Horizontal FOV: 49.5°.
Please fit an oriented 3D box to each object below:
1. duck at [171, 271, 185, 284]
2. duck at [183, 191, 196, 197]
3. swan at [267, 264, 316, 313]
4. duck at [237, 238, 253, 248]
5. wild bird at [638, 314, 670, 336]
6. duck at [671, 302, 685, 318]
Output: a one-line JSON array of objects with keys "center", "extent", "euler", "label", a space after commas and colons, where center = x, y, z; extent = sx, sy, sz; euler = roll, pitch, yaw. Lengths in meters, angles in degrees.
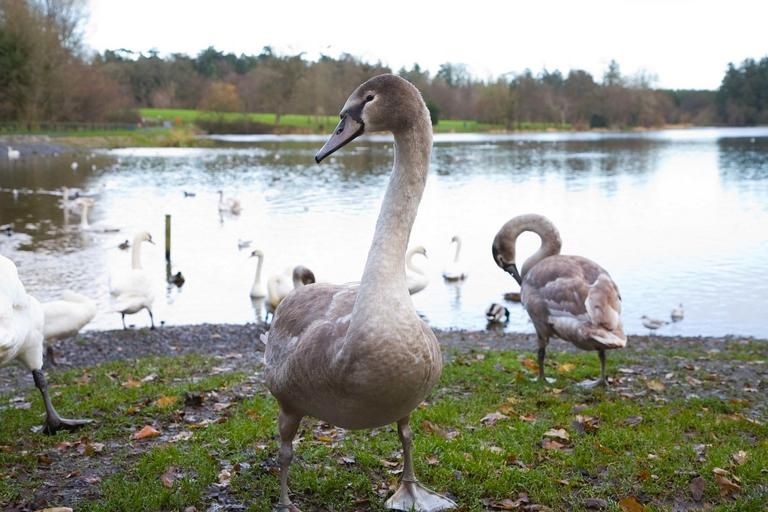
[{"center": [-8.474, 0.910, 34.341], "extent": [0.538, 0.491, 0.885], "euler": [-1, 8, -13], "label": "duck"}, {"center": [-12.171, -3.853, 52.140], "extent": [0.293, 0.420, 0.775], "euler": [-2, 4, 23], "label": "duck"}, {"center": [-2.929, 1.044, 29.448], "extent": [1.542, 2.428, 2.282], "euler": [2, -1, -31], "label": "swan"}, {"center": [-6.718, -0.598, 40.444], "extent": [0.741, 0.406, 0.532], "euler": [-1, 8, -17], "label": "duck"}, {"center": [9.536, 2.411, 29.821], "extent": [1.254, 0.773, 0.433], "euler": [-6, 2, -14], "label": "wild bird"}, {"center": [10.730, 1.995, 30.493], "extent": [0.409, 0.553, 0.584], "euler": [3, 16, 17], "label": "duck"}]
